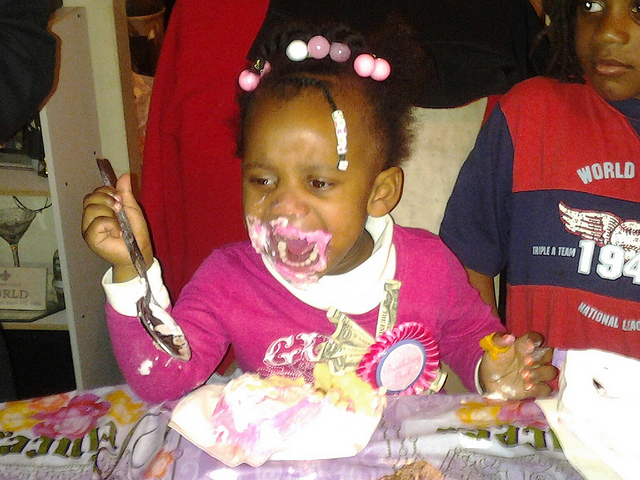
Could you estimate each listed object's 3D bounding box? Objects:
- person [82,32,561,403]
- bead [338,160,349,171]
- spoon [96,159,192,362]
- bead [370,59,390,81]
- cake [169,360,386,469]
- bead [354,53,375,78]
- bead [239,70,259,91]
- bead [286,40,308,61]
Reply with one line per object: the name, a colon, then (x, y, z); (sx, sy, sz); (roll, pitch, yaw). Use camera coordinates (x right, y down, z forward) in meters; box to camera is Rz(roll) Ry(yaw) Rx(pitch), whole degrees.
person: (0.058, -0.048, 1.289); (0.708, 1.148, 0.446); (-2, 20, 10)
bead: (0.045, -0.143, 1.149); (0.023, 0.020, 0.007); (-1, 0, -38)
spoon: (-0.303, 0.023, 1.131); (0.218, 0.328, 0.186); (4, 30, -13)
bead: (0.118, -0.329, 1.166); (0.036, 0.043, 0.035); (-21, 34, -17)
cake: (-0.052, 0.323, 1.081); (0.203, 0.064, 0.203); (-18, 17, -28)
bead: (0.085, -0.336, 1.156); (0.037, 0.046, 0.038); (4, -7, -7)
bead: (-0.138, -0.310, 1.178); (0.036, 0.040, 0.045); (-5, -4, 31)
bead: (-0.043, -0.362, 1.154); (0.040, 0.037, 0.012); (-1, 0, -2)
